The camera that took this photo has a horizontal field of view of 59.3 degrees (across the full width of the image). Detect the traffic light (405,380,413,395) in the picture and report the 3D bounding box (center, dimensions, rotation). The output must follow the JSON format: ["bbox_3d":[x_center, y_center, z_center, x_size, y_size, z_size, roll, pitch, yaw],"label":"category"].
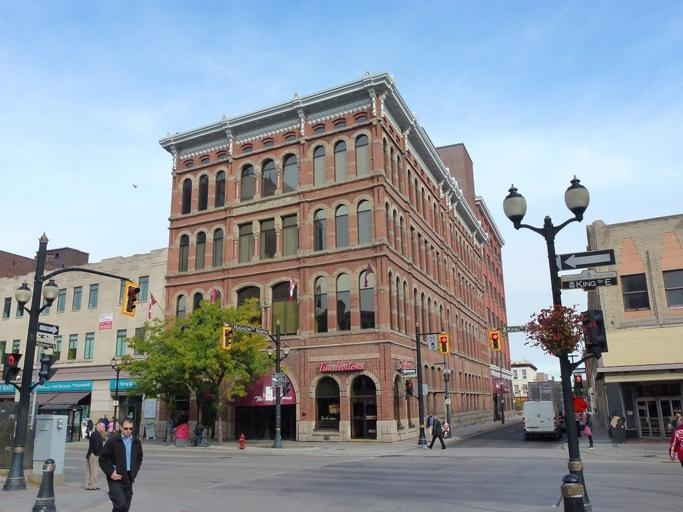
[{"bbox_3d":[4.239,8.190,37.492,0.365,0.885,0.433,-2,-16,0],"label":"traffic light"}]

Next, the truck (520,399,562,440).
[{"bbox_3d":[13.484,10.955,40.290,1.777,1.808,3.254,-5,-15,20],"label":"truck"}]

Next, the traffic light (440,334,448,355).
[{"bbox_3d":[6.902,5.827,40.301,0.579,1.227,0.259,-12,-19,30],"label":"traffic light"}]

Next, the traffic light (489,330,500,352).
[{"bbox_3d":[10.503,5.599,40.713,0.598,1.373,1.747,-8,-18,19],"label":"traffic light"}]

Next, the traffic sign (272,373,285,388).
[{"bbox_3d":[-3.692,7.343,35.776,0.675,0.778,0.728,2,-17,-15],"label":"traffic sign"}]
